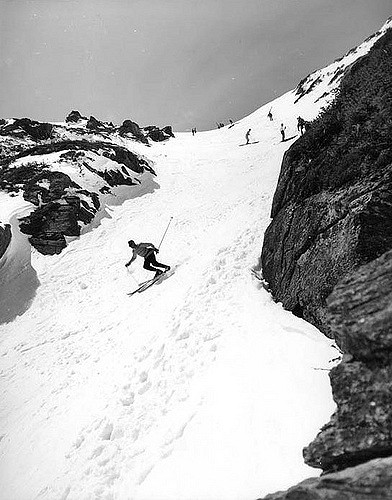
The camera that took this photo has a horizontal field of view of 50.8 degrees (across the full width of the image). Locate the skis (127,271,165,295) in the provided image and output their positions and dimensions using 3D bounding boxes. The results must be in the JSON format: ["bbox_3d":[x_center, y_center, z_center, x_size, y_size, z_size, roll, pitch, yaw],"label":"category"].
[{"bbox_3d":[-1.881,1.264,15.639,1.590,0.237,0.185,-32,-26,24],"label":"skis"}]
